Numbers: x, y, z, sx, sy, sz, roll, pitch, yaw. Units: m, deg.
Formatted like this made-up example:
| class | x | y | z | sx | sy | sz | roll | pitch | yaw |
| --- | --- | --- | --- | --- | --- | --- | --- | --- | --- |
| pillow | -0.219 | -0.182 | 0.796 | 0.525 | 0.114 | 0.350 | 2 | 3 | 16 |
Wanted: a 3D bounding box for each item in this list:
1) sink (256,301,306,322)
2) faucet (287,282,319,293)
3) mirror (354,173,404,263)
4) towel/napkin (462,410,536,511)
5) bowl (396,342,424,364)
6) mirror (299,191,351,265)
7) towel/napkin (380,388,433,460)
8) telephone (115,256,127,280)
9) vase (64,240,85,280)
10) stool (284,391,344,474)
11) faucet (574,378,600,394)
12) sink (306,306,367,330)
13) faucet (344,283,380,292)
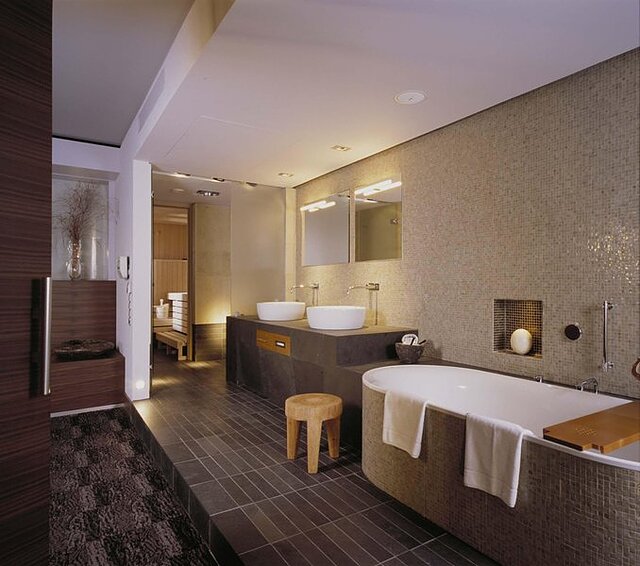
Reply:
| class | x | y | z | sx | sy | sz | roll | pitch | yaw |
| --- | --- | --- | --- | --- | --- | --- | --- | --- | --- |
| sink | -0.379 | 0.272 | 4.466 | 0.457 | 0.180 | 0.274 | 0 | 0 | -8 |
| faucet | -0.181 | 0.045 | 5.000 | 0.194 | 0.091 | 0.553 | 0 | 0 | -19 |
| mirror | 0.484 | -0.532 | 4.010 | 0.083 | 0.672 | 0.650 | -1 | 0 | -27 |
| towel/napkin | 0.706 | 0.697 | 1.861 | 0.111 | 0.294 | 0.242 | -4 | 7 | -45 |
| bowl | 0.633 | 0.485 | 3.230 | 0.143 | 0.100 | 0.152 | 1 | -5 | 0 |
| mirror | 0.071 | -0.561 | 4.656 | 0.016 | 0.612 | 0.789 | 0 | -1 | -28 |
| towel/napkin | 0.407 | 0.674 | 2.230 | 0.078 | 0.263 | 0.236 | 0 | 4 | -38 |
| telephone | -1.836 | -0.143 | 4.276 | 0.071 | 0.216 | 0.301 | 0 | 0 | -29 |
| vase | -2.576 | -0.252 | 4.811 | 0.169 | 0.413 | 0.101 | 0 | 1 | -29 |
| stool | -0.048 | 0.932 | 2.910 | 0.347 | 0.404 | 0.346 | -1 | 2 | -37 |
| faucet | 1.429 | 0.529 | 2.436 | 0.112 | 0.058 | 0.083 | -5 | 3 | -45 |
| sink | 0.128 | 0.281 | 3.669 | 0.460 | 0.167 | 0.213 | 0 | 0 | -1 |
| faucet | 0.376 | 0.038 | 4.157 | 0.105 | 0.098 | 0.480 | 0 | 0 | -25 |
